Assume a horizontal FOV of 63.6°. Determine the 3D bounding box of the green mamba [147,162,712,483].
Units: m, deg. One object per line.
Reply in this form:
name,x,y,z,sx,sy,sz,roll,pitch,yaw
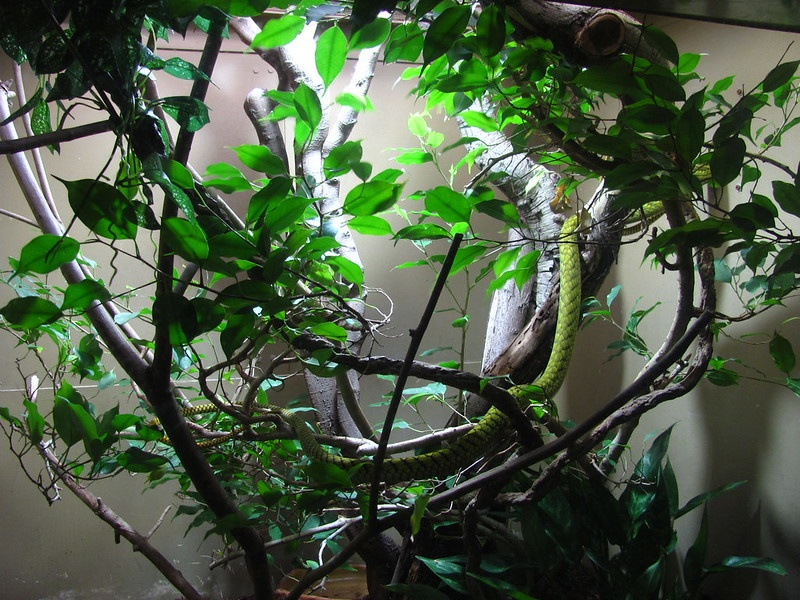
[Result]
green mamba,0.133,0.196,1.594,1.098,0.200,0.649,-21,-86,13
